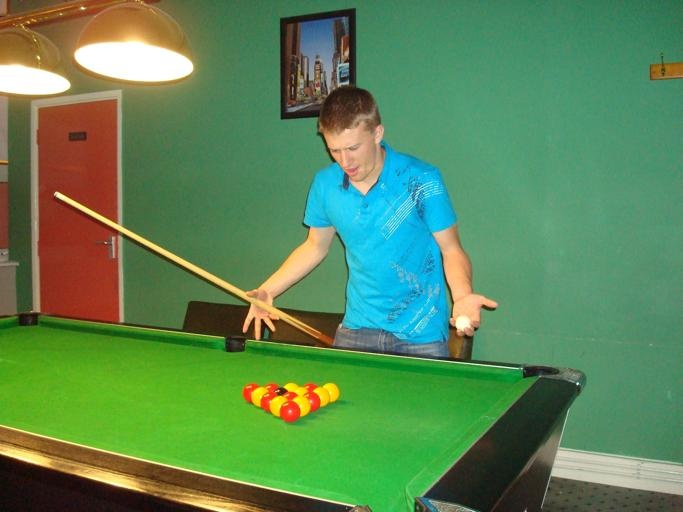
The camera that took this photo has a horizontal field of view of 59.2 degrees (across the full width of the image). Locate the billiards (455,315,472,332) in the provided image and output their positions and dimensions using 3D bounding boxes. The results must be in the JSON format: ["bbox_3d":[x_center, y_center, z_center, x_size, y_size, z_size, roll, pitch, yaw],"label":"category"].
[{"bbox_3d":[0.427,0.235,2.103,0.050,0.053,0.028,-18,6,14],"label":"billiards"}]

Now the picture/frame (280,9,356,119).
[{"bbox_3d":[-0.162,-1.217,3.864,0.507,0.644,0.043,9,11,21],"label":"picture/frame"}]

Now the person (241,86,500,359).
[{"bbox_3d":[0.173,0.268,2.868,1.151,2.054,0.740,2,21,15],"label":"person"}]
